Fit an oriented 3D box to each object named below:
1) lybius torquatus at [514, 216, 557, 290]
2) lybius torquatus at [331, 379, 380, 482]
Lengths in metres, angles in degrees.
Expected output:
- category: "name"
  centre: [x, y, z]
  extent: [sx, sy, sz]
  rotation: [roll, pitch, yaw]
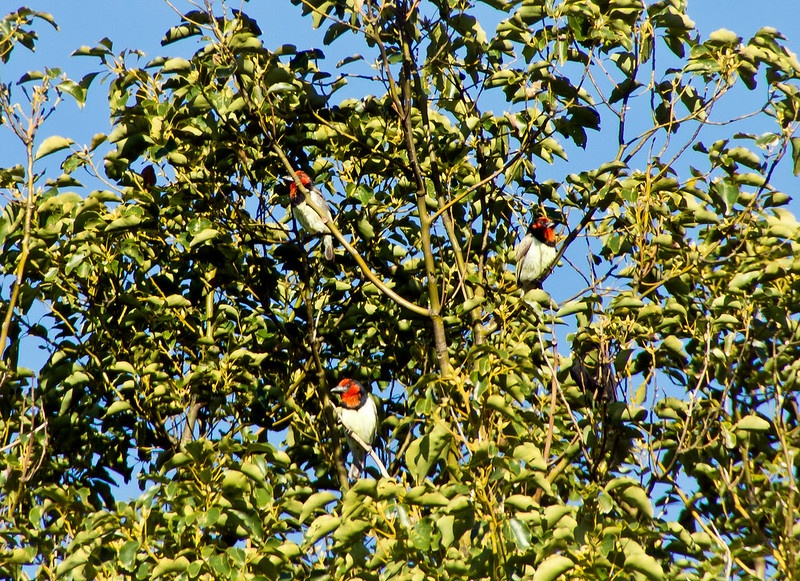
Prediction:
- category: "lybius torquatus"
  centre: [1.222, -0.351, 13.071]
  extent: [0.326, 0.560, 0.551]
  rotation: [12, -16, -31]
- category: "lybius torquatus"
  centre: [-0.340, 1.107, 11.993]
  extent: [0.286, 0.788, 0.768]
  rotation: [-12, -9, 2]
